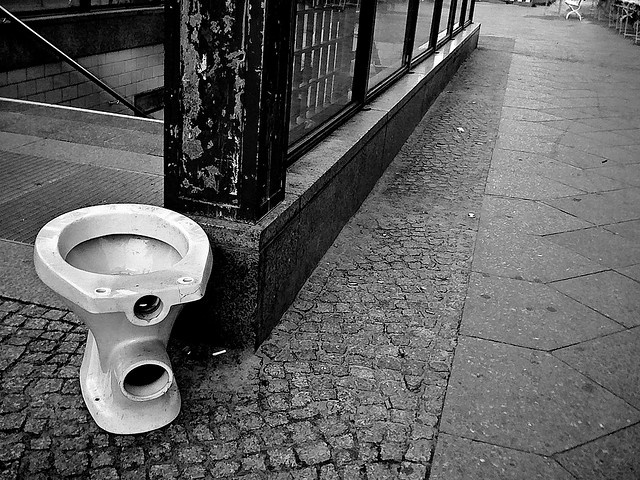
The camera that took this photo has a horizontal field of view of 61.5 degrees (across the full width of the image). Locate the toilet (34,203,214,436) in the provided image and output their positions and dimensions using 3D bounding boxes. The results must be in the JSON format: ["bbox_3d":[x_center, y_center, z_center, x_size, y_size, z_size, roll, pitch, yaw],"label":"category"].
[{"bbox_3d":[-0.959,0.378,2.805,0.791,0.870,0.818,-15,35,-28],"label":"toilet"}]
